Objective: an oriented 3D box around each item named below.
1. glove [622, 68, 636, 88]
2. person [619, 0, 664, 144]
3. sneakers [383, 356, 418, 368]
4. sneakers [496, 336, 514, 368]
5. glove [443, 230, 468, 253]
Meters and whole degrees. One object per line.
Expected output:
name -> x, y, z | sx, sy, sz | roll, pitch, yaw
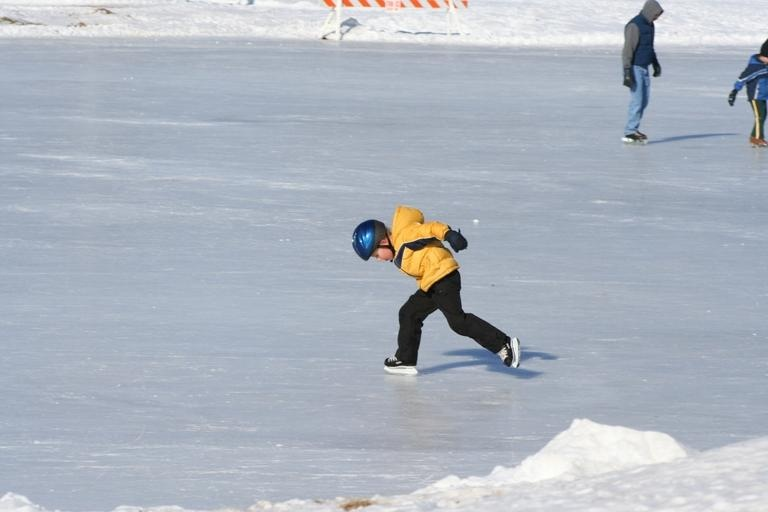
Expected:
glove -> 3.310, -2.401, 22.439 | 0.134, 0.286, 0.199 | 2, 19, 11
person -> 3.492, -2.515, 22.555 | 0.518, 1.877, 1.038 | 0, 19, 8
sneakers -> 0.151, 1.007, 15.941 | 0.287, 0.093, 0.104 | 10, 0, 0
sneakers -> 1.165, 0.906, 15.715 | 0.170, 0.296, 0.108 | -13, 33, 6
glove -> 0.669, -0.142, 15.670 | 0.205, 0.263, 0.402 | -1, 16, 3
